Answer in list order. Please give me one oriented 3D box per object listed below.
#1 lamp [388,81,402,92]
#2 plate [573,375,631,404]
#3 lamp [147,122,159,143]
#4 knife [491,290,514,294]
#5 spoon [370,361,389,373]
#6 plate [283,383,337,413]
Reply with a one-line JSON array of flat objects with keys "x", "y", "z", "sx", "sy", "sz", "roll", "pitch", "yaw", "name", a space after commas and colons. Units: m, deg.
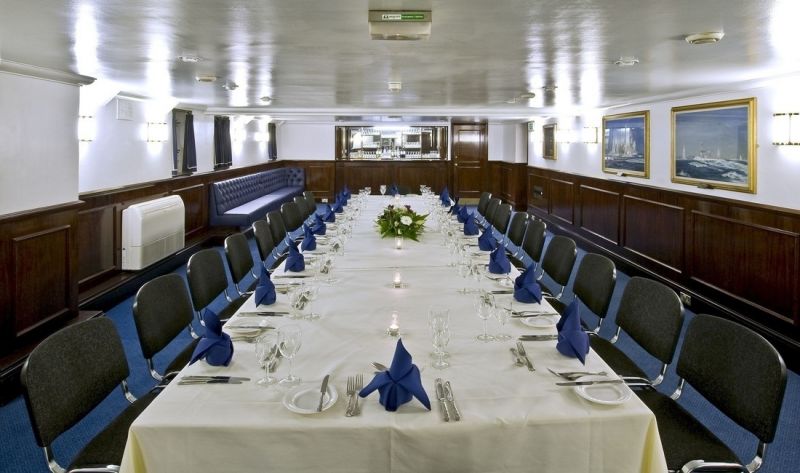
[{"x": -0.069, "y": -2.111, "z": 6.832, "sx": 0.154, "sy": 0.114, "sz": 0.153, "roll": -1, "pitch": 0, "yaw": -5, "name": "lamp"}, {"x": 1.393, "y": 1.048, "z": 3.323, "sx": 0.374, "sy": 0.102, "sz": 0.219, "roll": 0, "pitch": 11, "yaw": -12, "name": "plate"}, {"x": -4.136, "y": -1.728, "z": 8.113, "sx": 0.080, "sy": 0.311, "sz": 0.178, "roll": 6, "pitch": 12, "yaw": 18, "name": "lamp"}, {"x": 0.957, "y": 0.514, "z": 4.523, "sx": 0.250, "sy": 0.013, "sz": 0.067, "roll": -4, "pitch": 28, "yaw": 4, "name": "knife"}, {"x": -0.154, "y": 0.927, "z": 3.509, "sx": 0.077, "sy": 0.081, "sz": 0.069, "roll": 1, "pitch": 1, "yaw": 34, "name": "spoon"}, {"x": -0.598, "y": 1.085, "z": 3.267, "sx": 0.359, "sy": 0.107, "sz": 0.215, "roll": 2, "pitch": 10, "yaw": -3, "name": "plate"}]
